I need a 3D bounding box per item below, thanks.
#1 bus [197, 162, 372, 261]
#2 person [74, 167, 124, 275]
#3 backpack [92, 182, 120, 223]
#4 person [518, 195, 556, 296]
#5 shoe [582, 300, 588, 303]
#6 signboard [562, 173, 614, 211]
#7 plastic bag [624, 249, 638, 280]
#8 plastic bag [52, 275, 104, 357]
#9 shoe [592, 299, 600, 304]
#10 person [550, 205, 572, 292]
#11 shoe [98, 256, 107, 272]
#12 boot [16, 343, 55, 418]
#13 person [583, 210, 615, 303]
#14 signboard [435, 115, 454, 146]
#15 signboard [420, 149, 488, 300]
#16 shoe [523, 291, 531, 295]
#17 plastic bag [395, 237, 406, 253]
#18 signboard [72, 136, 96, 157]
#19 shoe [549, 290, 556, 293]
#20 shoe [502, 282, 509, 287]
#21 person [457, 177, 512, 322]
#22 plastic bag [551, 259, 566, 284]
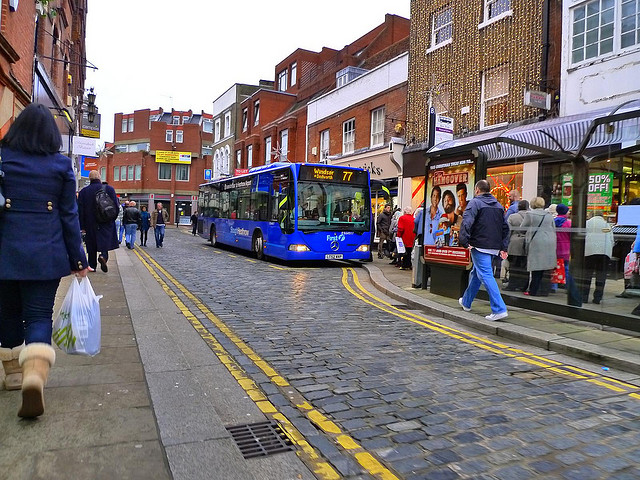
[{"bbox_3d":[-2.343,-1.162,20.314,2.912,3.427,11.569,1,2,-29],"label":"bus"},{"bbox_3d":[-4.824,-0.375,10.879,0.893,2.160,0.820,-2,2,-8],"label":"person"},{"bbox_3d":[-4.504,-0.775,10.545,0.434,0.782,0.543,-7,15,32],"label":"backpack"},{"bbox_3d":[3.759,0.198,8.766,0.409,1.439,0.762,2,5,4],"label":"person"},{"bbox_3d":[4.098,0.935,7.891,0.057,0.038,0.058,1,-1,-30],"label":"shoe"},{"bbox_3d":[4.317,-0.856,8.157,0.809,0.736,0.290,0,33,30],"label":"signboard"},{"bbox_3d":[4.517,0.362,7.414,0.177,0.391,0.060,6,7,41],"label":"plastic bag"},{"bbox_3d":[-2.376,0.727,4.980,0.439,0.780,0.303,-2,6,-29],"label":"plastic bag"},{"bbox_3d":[4.187,0.918,7.744,0.130,0.085,0.080,4,3,34],"label":"shoe"},{"bbox_3d":[3.976,0.219,8.443,0.286,1.174,0.568,4,6,24],"label":"person"},{"bbox_3d":[-4.989,0.510,11.656,0.134,0.385,0.155,-7,22,-28],"label":"shoe"},{"bbox_3d":[-2.486,1.227,4.445,0.283,0.631,0.330,-2,6,-28],"label":"boot"},{"bbox_3d":[4.234,0.235,7.851,0.246,1.392,0.459,-1,6,-21],"label":"person"},{"bbox_3d":[4.126,-3.641,16.841,0.444,0.916,0.963,6,7,40],"label":"signboard"},{"bbox_3d":[2.583,-0.327,10.162,0.410,2.858,1.635,-1,6,-22],"label":"signboard"},{"bbox_3d":[3.581,0.907,8.827,0.053,0.063,0.153,0,-6,-18],"label":"shoe"},{"bbox_3d":[2.355,0.133,14.751,0.274,0.425,0.324,0,5,-13],"label":"plastic bag"},{"bbox_3d":[-9.287,-3.706,20.006,0.585,0.690,1.403,1,6,-8],"label":"signboard"},{"bbox_3d":[3.840,0.836,8.436,0.059,0.044,0.060,0,2,27],"label":"shoe"},{"bbox_3d":[3.323,0.779,9.145,0.037,0.081,0.112,1,-7,-20],"label":"shoe"},{"bbox_3d":[2.787,0.130,8.600,0.867,2.289,1.306,3,6,21],"label":"person"},{"bbox_3d":[3.921,0.502,8.377,0.062,0.530,0.367,-1,6,-17],"label":"plastic bag"}]
